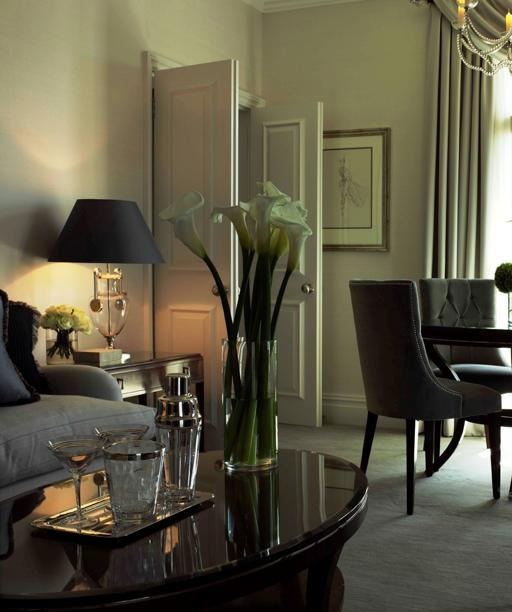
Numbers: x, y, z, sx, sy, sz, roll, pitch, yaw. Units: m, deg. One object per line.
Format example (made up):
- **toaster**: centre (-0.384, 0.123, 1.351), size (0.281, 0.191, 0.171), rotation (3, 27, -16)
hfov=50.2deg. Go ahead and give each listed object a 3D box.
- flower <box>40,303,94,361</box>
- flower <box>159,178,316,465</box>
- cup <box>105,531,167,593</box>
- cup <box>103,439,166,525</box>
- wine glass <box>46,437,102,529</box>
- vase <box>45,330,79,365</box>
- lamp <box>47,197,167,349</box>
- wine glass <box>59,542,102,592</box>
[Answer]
- **flower**: centre (-0.930, 0.119, 2.675), size (0.228, 0.296, 0.262), rotation (1, -1, -26)
- **flower**: centre (-0.065, 0.051, 1.293), size (0.341, 0.568, 0.300), rotation (3, -2, -12)
- **cup**: centre (-0.165, 0.368, 0.790), size (0.049, 0.101, 0.056), rotation (0, -25, 0)
- **cup**: centre (-0.192, 0.283, 0.937), size (0.108, 0.150, 0.124), rotation (0, 1, -4)
- **wine glass**: centre (-0.326, 0.313, 0.993), size (0.112, 0.163, 0.130), rotation (-1, -3, 4)
- **vase**: centre (-0.971, 0.213, 2.747), size (0.141, 0.191, 0.156), rotation (1, -5, 6)
- **lamp**: centre (-0.757, -0.127, 3.069), size (0.634, 1.013, 0.714), rotation (-1, 3, -14)
- **wine glass**: centre (-0.238, 0.351, 0.737), size (0.038, 0.048, 0.042), rotation (-2, -8, -2)
